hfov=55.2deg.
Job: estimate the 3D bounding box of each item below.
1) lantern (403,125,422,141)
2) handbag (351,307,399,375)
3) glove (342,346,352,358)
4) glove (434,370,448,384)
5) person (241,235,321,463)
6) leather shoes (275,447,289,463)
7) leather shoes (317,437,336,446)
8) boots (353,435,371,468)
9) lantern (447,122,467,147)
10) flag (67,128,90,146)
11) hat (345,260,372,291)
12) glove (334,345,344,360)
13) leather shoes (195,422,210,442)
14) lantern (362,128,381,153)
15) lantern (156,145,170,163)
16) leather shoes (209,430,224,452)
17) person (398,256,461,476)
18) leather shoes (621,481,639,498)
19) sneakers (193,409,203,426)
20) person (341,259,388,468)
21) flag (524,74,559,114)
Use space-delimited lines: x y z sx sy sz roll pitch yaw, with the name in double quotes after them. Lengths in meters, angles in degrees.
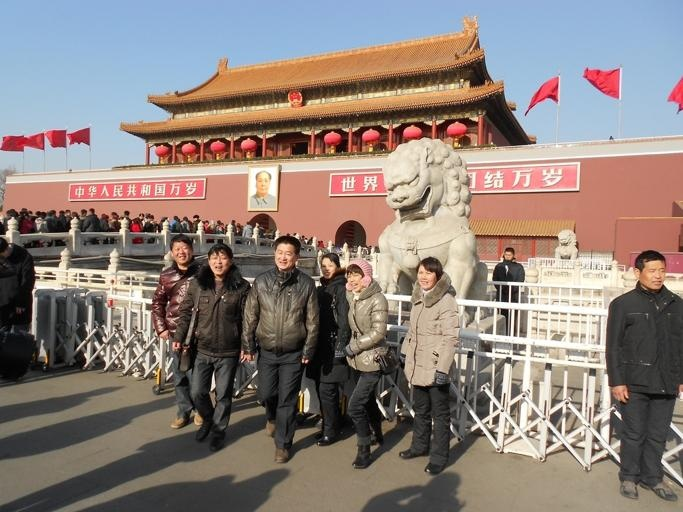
2.216 -3.883 20.338 0.481 0.449 0.667 1 1 9 "lantern"
0.293 0.756 5.205 0.327 0.383 0.486 -8 -21 7 "handbag"
0.041 0.727 4.950 0.057 0.074 0.080 -4 -2 4 "glove"
0.715 0.874 4.695 0.121 0.103 0.078 5 -5 8 "glove"
-0.474 0.683 5.033 0.403 1.711 0.477 1 0 -42 "person"
-0.431 1.468 4.846 0.134 0.109 0.095 1 0 -28 "leather shoes"
-0.130 1.435 5.060 0.056 0.051 0.119 -7 -17 34 "leather shoes"
0.151 1.436 4.832 0.134 0.224 0.150 1 0 7 "boots"
3.638 -3.903 20.726 0.542 0.876 1.875 1 1 9 "lantern"
-9.568 -4.420 23.882 0.676 0.735 1.404 1 1 -26 "flag"
0.155 0.156 5.132 0.197 0.294 0.218 -10 -17 21 "hat"
-0.022 0.747 5.064 0.080 0.092 0.031 5 -1 14 "glove"
-1.080 1.362 5.076 0.059 0.083 0.186 3 3 2 "leather shoes"
1.028 -4.035 22.507 0.535 0.803 1.407 1 1 6 "lantern"
-7.231 -4.204 26.514 0.551 0.830 1.951 1 1 -14 "lantern"
-0.949 1.396 4.984 0.116 0.153 0.152 1 0 -12 "leather shoes"
0.649 0.788 4.865 0.407 1.529 0.337 1 0 5 "person"
2.007 1.618 4.547 0.122 0.112 0.087 1 0 8 "leather shoes"
-1.172 1.306 5.305 0.084 0.112 0.244 3 -11 -4 "sneakers"
0.185 0.787 4.979 0.333 1.522 0.430 1 0 0 "person"
5.278 -4.347 16.921 0.671 1.002 2.160 1 1 17 "flag"
